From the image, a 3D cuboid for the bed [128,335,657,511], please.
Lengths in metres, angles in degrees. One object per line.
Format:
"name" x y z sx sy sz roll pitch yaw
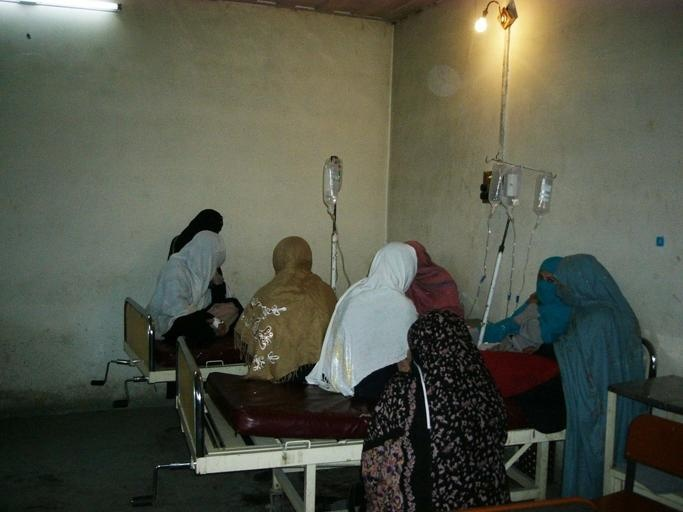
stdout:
"bed" 0.115 0.961 3.990 2.470 1.095 1.485 0 3 -23
